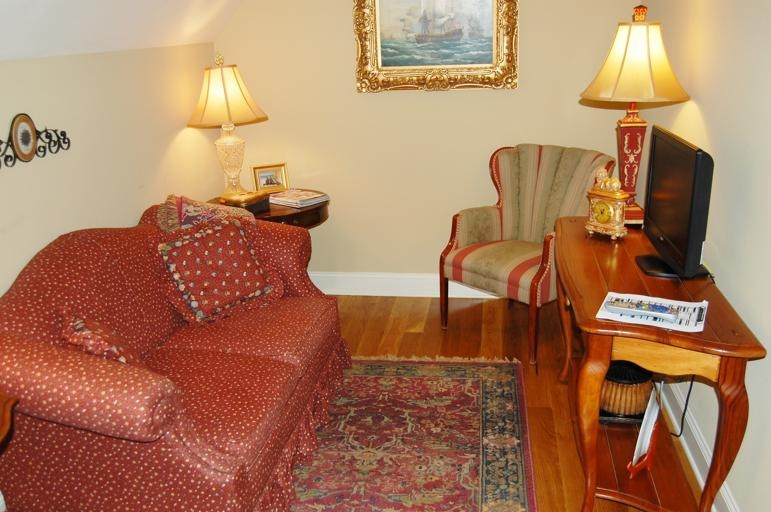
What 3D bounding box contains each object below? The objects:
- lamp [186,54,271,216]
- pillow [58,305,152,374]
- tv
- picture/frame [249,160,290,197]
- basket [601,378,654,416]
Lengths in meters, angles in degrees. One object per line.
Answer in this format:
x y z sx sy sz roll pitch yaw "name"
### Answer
-1.100 -0.871 3.902 0.528 1.013 0.755 -8 23 -16 "lamp"
-1.261 0.345 2.428 0.386 0.128 0.224 26 19 -3 "pillow"
1.383 -0.247 2.623 0.243 0.505 0.688 -5 20 7 "tv"
-0.859 -0.585 4.178 0.325 0.287 0.032 -10 8 -23 "picture/frame"
1.232 0.721 2.824 0.222 0.167 0.224 1 13 5 "basket"
